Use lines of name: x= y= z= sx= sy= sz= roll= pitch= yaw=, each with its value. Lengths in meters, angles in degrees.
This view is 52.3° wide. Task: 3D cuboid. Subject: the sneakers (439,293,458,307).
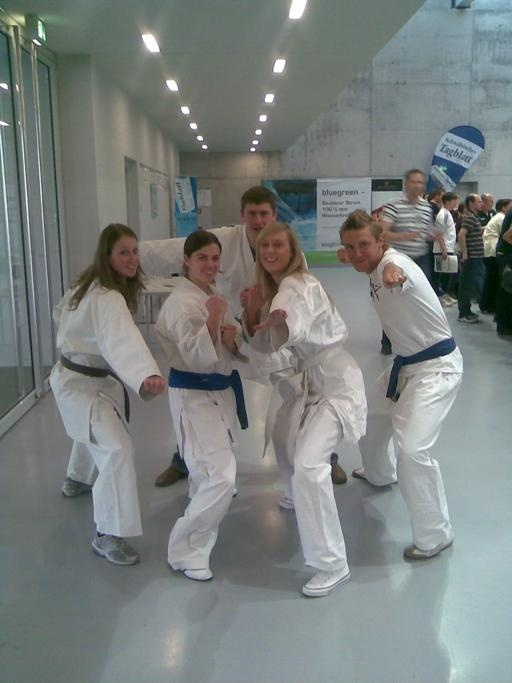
sneakers: x=3.023 y=-0.668 z=8.209 sx=0.356 sy=0.152 sz=0.156 roll=2 pitch=14 yaw=45

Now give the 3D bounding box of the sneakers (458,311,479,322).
sneakers: x=2.771 y=-0.314 z=6.730 sx=0.290 sy=0.140 sz=0.113 roll=-1 pitch=1 yaw=34

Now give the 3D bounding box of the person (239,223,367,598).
person: x=0.184 y=0.173 z=1.927 sx=0.464 sy=1.219 sz=0.689 roll=0 pitch=8 yaw=-1

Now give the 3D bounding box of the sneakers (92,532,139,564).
sneakers: x=-0.514 y=0.754 z=1.948 sx=0.172 sy=0.079 sz=0.078 roll=14 pitch=-3 yaw=25

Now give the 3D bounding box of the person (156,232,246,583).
person: x=-0.215 y=0.177 z=1.978 sx=0.348 sy=1.212 sz=0.587 roll=0 pitch=8 yaw=-2

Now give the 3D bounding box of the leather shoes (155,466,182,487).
leather shoes: x=-0.435 y=0.674 z=2.580 sx=0.052 sy=0.062 sz=0.157 roll=-2 pitch=-10 yaw=19

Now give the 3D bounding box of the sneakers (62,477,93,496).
sneakers: x=-0.859 y=0.688 z=2.501 sx=0.130 sy=0.089 sz=0.068 roll=13 pitch=-6 yaw=-22

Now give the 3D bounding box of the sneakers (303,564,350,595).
sneakers: x=0.230 y=0.787 z=1.739 sx=0.168 sy=0.066 sz=0.061 roll=-1 pitch=-13 yaw=-40

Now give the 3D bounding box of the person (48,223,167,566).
person: x=-0.580 y=0.164 z=1.996 sx=0.390 sy=1.241 sz=0.629 roll=-3 pitch=8 yaw=-21
